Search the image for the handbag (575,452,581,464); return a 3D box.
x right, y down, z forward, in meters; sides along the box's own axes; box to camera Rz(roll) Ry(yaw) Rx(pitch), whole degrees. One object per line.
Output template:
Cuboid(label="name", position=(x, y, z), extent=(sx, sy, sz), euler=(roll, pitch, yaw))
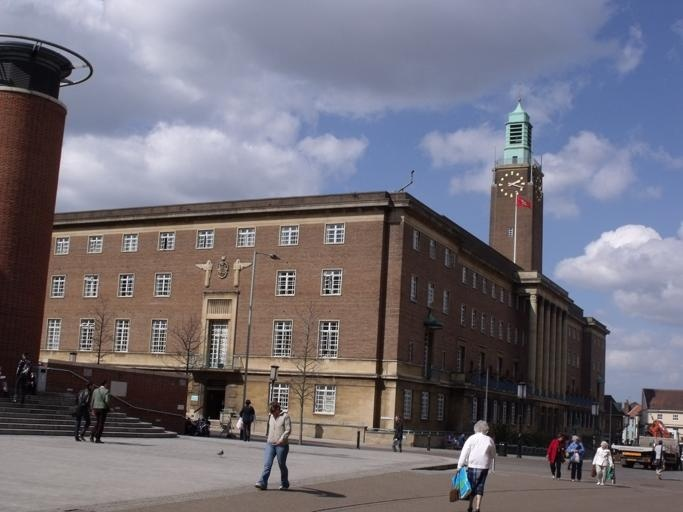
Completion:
Cuboid(label="handbag", position=(10.265, 8.772, 31.969), extent=(0.414, 0.423, 0.224), euler=(5, -12, -4))

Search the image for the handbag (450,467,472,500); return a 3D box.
Cuboid(label="handbag", position=(2.709, 5.122, 16.545), extent=(0.229, 0.661, 0.527), euler=(3, -9, 6))

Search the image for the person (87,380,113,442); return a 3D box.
Cuboid(label="person", position=(-9.248, 5.939, 28.095), extent=(0.687, 2.351, 1.469), euler=(8, -13, -17))

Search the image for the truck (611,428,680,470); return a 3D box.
Cuboid(label="truck", position=(23.879, 15.130, 57.280), extent=(4.255, 2.449, 7.129), euler=(-8, -13, 39))

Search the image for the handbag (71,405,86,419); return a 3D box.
Cuboid(label="handbag", position=(-10.253, 6.001, 28.429), extent=(0.488, 0.621, 0.675), euler=(-1, -9, -12))

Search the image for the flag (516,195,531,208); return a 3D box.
Cuboid(label="flag", position=(25.347, -7.588, 102.281), extent=(1.941, 1.950, 0.274), euler=(5, -19, -14))
